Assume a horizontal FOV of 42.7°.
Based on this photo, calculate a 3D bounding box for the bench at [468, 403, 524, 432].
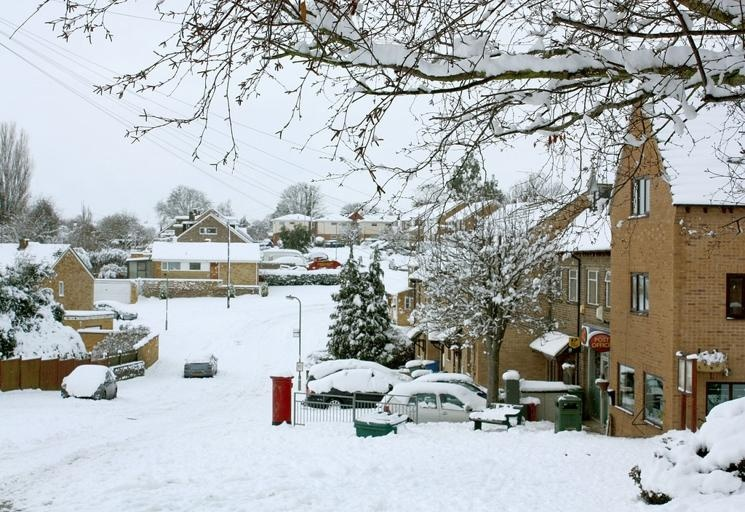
[{"bbox_3d":[4.170,5.548,32.824,1.600,0.700,1.569,-1,2,17],"label":"bench"}]

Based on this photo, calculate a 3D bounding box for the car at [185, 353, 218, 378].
[{"bbox_3d":[-9.690,6.235,53.416,1.826,0.965,2.203,-2,2,-13],"label":"car"}]

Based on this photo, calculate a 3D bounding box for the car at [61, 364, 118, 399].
[{"bbox_3d":[-11.797,5.294,40.053,1.185,1.026,2.110,1,-10,-6],"label":"car"}]
